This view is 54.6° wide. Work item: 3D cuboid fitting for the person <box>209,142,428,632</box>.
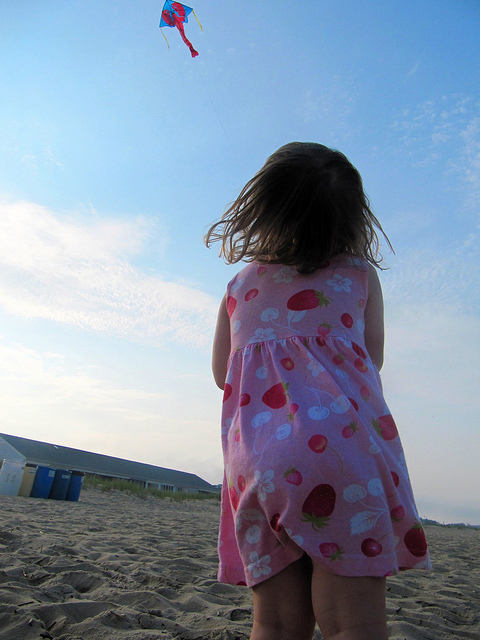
[{"bbox_3d":[0.141,0.080,1.074,0.483,1.111,0.337,-4,-23,20],"label":"person"}]
